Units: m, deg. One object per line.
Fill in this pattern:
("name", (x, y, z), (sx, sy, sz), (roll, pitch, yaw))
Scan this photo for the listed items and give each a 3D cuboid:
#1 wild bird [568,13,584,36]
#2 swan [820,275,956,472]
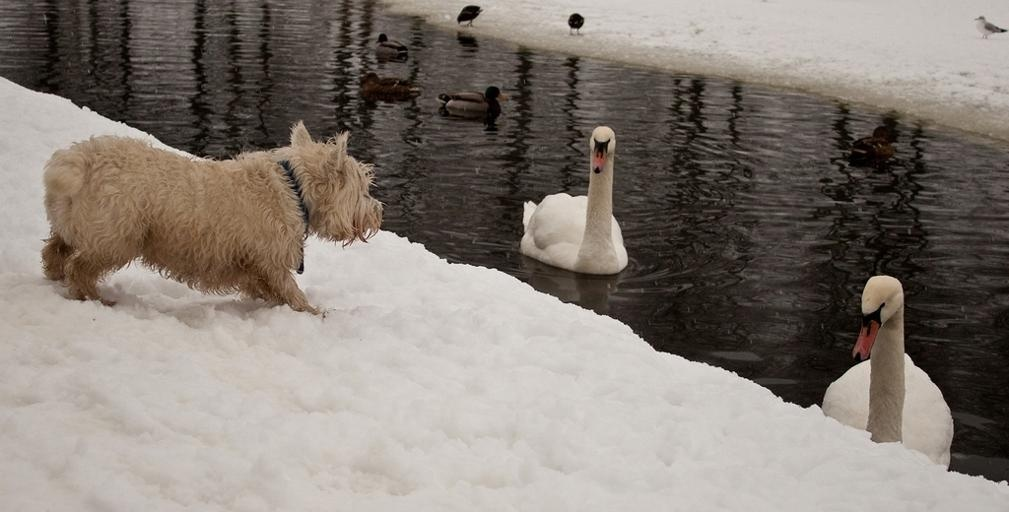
("wild bird", (3.786, -12.038, 50.132), (1.208, 1.036, 1.524), (0, 23, -2))
("swan", (8.702, 2.414, 21.074), (2.674, 3.939, 1.604), (11, 17, 13))
